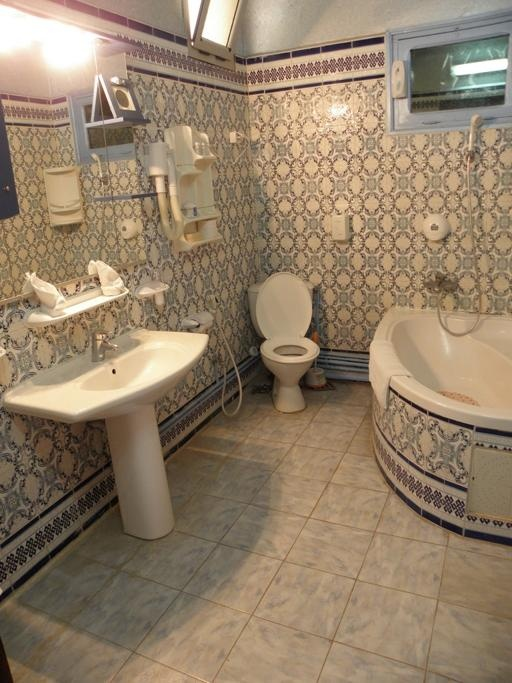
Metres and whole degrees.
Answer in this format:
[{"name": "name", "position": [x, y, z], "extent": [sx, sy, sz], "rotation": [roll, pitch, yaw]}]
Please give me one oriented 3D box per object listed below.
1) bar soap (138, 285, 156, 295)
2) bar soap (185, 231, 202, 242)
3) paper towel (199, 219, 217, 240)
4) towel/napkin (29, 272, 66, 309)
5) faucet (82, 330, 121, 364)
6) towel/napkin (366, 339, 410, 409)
[{"name": "bar soap", "position": [-0.532, -0.243, 2.316], "extent": [0.041, 0.017, 0.064], "rotation": [-20, 36, -30]}, {"name": "bar soap", "position": [-0.355, -0.599, 2.767], "extent": [0.082, 0.020, 0.079], "rotation": [-15, 41, -33]}, {"name": "paper towel", "position": [-0.292, -0.670, 2.871], "extent": [0.099, 0.135, 0.137], "rotation": [6, 13, 24]}, {"name": "towel/napkin", "position": [-0.730, -0.170, 1.699], "extent": [0.080, 0.141, 0.056], "rotation": [-44, 5, -4]}, {"name": "faucet", "position": [-0.622, 0.017, 1.918], "extent": [0.072, 0.178, 0.223], "rotation": [-13, 14, -41]}, {"name": "towel/napkin", "position": [0.681, 0.153, 2.407], "extent": [0.130, 0.212, 0.375], "rotation": [-4, 28, 3]}]
